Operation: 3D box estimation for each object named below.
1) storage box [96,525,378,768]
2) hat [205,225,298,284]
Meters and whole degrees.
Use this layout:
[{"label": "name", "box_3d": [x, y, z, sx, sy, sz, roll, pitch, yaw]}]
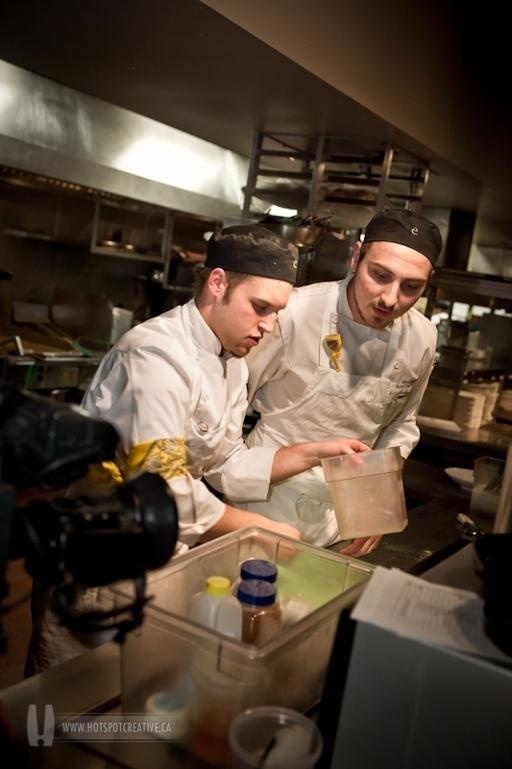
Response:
[{"label": "storage box", "box_3d": [0.012, 0.322, 0.774, 0.238, 0.148, 0.358, 10, 12, 31]}, {"label": "hat", "box_3d": [-0.009, -0.303, 1.264, 0.159, 0.090, 0.154, 8, 10, -42]}]
